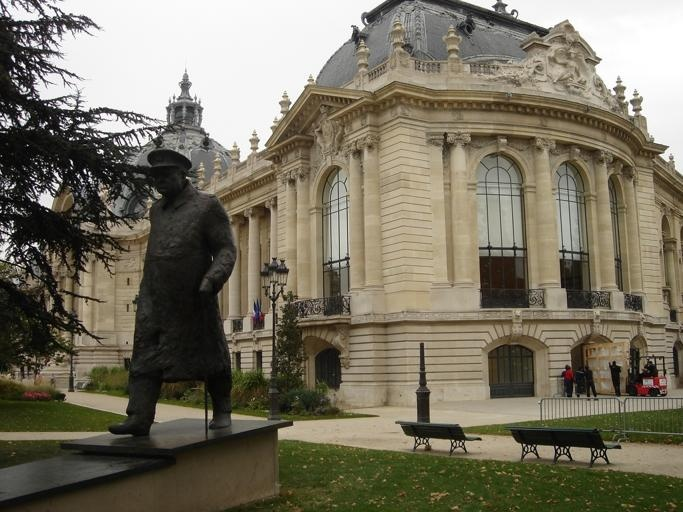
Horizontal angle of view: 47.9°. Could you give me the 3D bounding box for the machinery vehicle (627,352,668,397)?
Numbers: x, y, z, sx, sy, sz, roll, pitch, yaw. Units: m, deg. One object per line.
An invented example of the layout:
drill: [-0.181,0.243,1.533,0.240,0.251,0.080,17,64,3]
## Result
machinery vehicle: [15.632,6.155,39.503,1.491,1.877,2.366,2,-4,-35]
